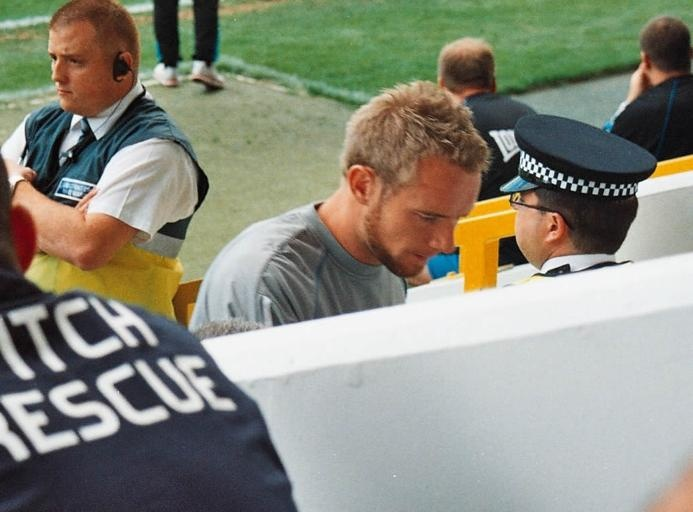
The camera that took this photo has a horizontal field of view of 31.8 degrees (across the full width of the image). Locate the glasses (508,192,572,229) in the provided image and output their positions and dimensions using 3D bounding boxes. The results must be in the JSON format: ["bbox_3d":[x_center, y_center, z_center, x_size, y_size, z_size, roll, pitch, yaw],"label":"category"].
[{"bbox_3d":[0.596,-0.149,3.799,0.130,0.033,0.124,18,6,16],"label":"glasses"}]

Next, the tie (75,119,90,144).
[{"bbox_3d":[-0.887,-0.417,4.141,0.060,0.077,0.029,11,19,16],"label":"tie"}]

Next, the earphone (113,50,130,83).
[{"bbox_3d":[-0.756,-0.630,4.108,0.029,0.079,0.060,8,8,44],"label":"earphone"}]

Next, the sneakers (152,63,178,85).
[{"bbox_3d":[-0.914,-0.905,6.181,0.071,0.077,0.171,-10,33,-22],"label":"sneakers"}]

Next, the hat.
[{"bbox_3d":[0.722,-0.294,3.777,0.354,0.136,0.297,3,25,15],"label":"hat"}]
